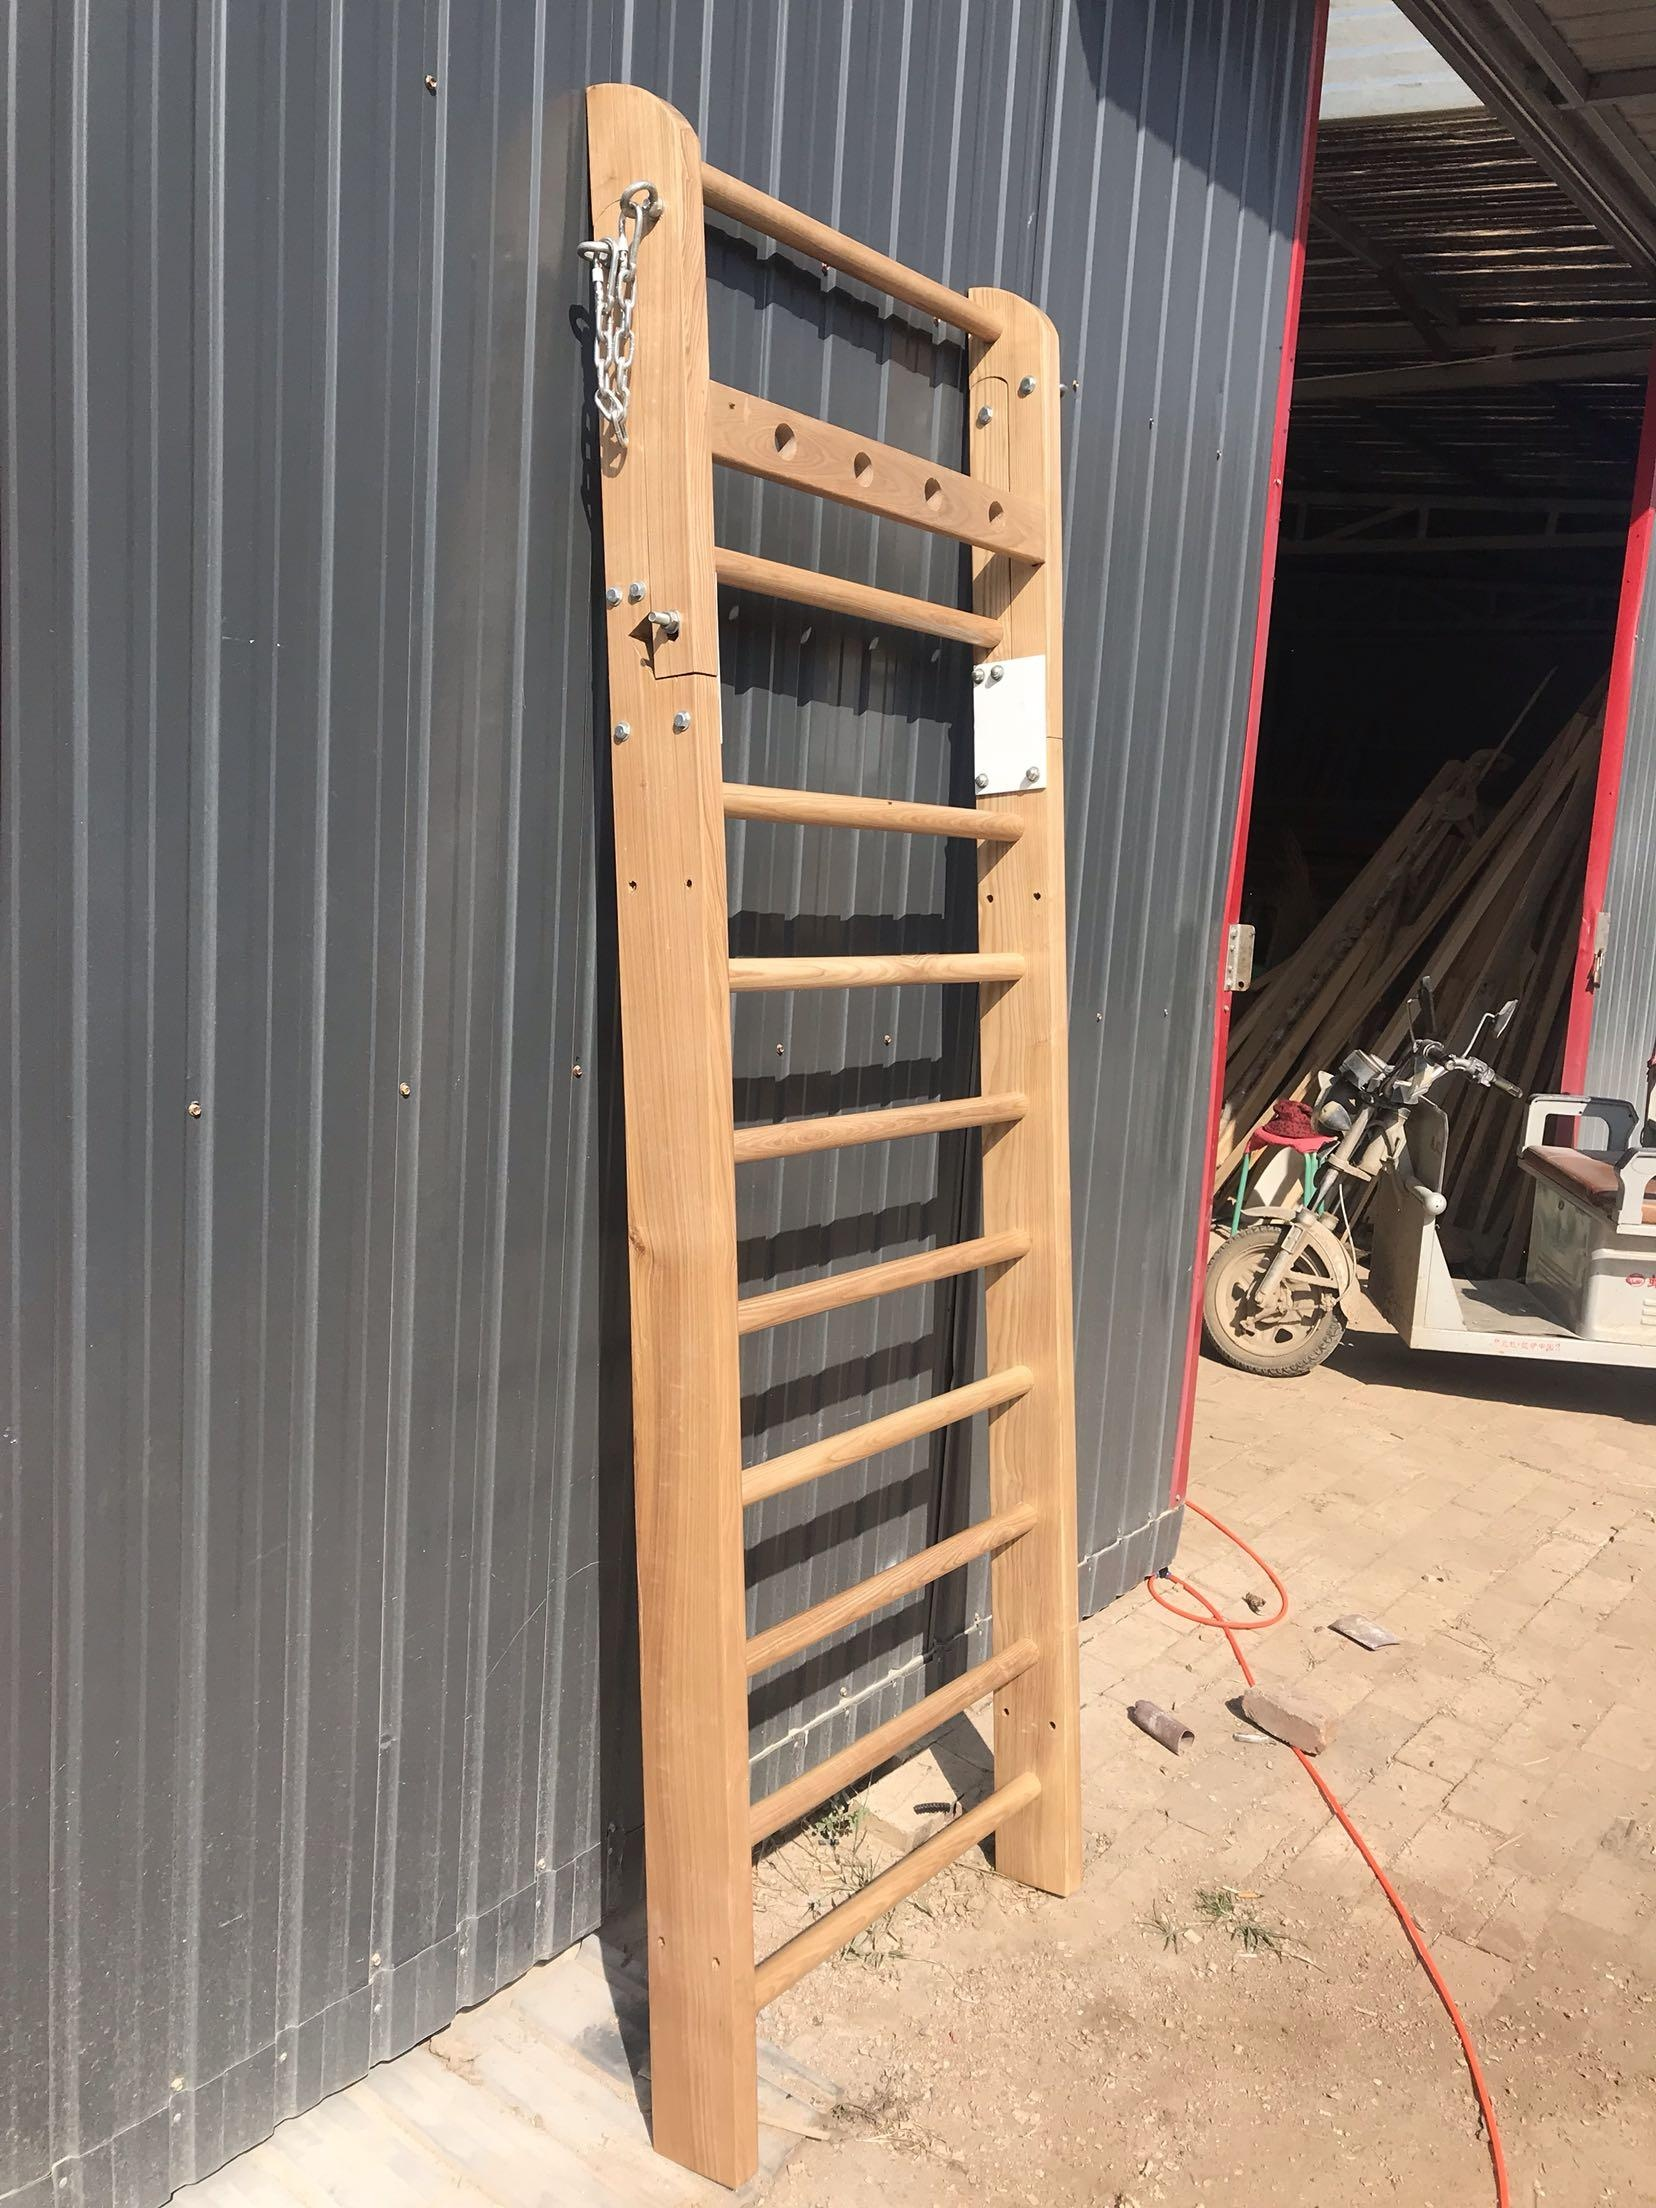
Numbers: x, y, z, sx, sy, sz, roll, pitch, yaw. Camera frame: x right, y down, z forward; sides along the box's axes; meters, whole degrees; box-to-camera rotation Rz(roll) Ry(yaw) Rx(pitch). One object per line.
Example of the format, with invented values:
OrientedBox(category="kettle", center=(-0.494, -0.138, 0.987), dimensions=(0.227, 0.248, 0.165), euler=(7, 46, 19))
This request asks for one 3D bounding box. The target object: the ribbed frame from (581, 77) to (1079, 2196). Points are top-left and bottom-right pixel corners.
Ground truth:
OrientedBox(category="ribbed frame", center=(0.049, 0.026, 2.368), dimensions=(0.480, 2.200, 0.865), euler=(12, 13, 34))
